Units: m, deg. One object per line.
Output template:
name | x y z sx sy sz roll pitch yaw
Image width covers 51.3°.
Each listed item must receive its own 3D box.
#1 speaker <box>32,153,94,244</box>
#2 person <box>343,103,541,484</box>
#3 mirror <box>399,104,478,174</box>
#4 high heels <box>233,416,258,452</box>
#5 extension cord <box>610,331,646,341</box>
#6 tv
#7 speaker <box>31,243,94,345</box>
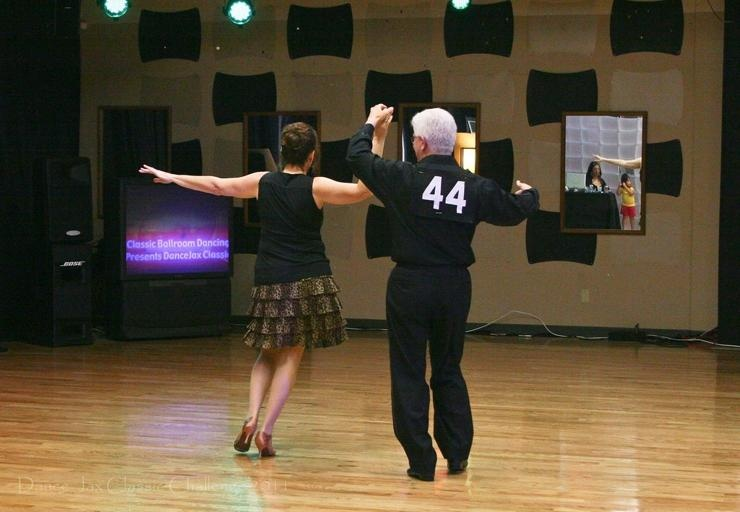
speaker | -3.381 -0.621 8.602 0.489 0.943 0.271 -2 8 -13
person | 0.422 0.254 5.093 1.121 2.427 0.427 0 8 -4
mirror | 0.811 -1.314 9.377 1.036 1.285 0.047 2 -18 9
high heels | -0.882 1.245 5.412 0.107 0.327 0.114 14 3 -8
extension cord | 3.039 0.942 9.104 0.395 0.105 0.092 1 8 5
tv | -2.276 -0.312 8.607 1.134 1.060 0.406 0 1 -16
speaker | -3.437 0.420 8.555 0.654 1.118 0.393 -2 8 -12
